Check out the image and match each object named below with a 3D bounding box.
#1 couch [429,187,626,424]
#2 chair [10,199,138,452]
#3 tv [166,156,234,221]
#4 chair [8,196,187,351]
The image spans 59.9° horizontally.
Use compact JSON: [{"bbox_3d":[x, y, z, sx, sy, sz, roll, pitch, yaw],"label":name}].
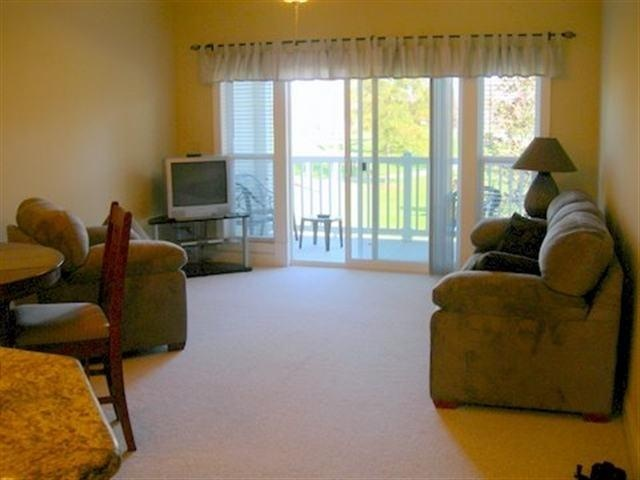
[{"bbox_3d":[1.100,-0.037,2.981,0.768,0.885,1.638,2,10,20],"label":"couch"},{"bbox_3d":[-1.141,0.388,2.603,0.527,1.067,0.687,-7,12,-30],"label":"chair"},{"bbox_3d":[-1.229,-0.529,5.646,0.668,0.598,0.089,-6,11,-27],"label":"tv"},{"bbox_3d":[-1.421,0.198,3.625,0.862,0.938,1.166,-2,7,-28],"label":"chair"}]
